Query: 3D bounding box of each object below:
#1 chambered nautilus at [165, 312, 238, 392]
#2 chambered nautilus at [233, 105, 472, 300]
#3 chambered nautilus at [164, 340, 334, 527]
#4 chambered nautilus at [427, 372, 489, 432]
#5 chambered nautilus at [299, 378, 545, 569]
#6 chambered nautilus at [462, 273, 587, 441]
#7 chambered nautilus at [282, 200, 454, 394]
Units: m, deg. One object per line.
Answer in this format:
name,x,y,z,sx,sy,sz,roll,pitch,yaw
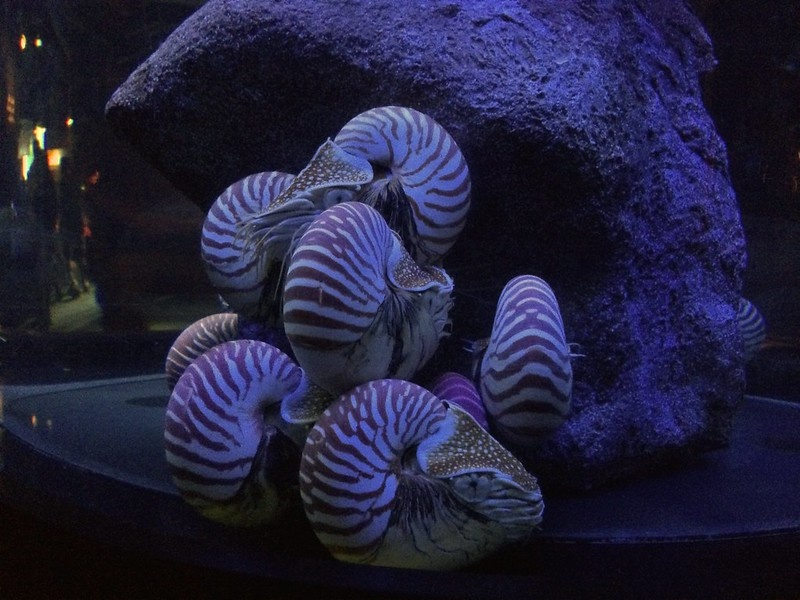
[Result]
chambered nautilus,-0.416,0.119,2.046,0.197,0.075,0.251,-23,26,-36
chambered nautilus,-0.091,-0.233,2.152,0.764,0.469,0.405,-8,3,-41
chambered nautilus,-0.325,0.304,1.910,0.367,0.437,0.189,-4,-1,-30
chambered nautilus,0.141,0.228,2.066,0.069,0.085,0.159,2,30,-43
chambered nautilus,0.028,0.424,2.083,0.548,0.419,0.329,13,-10,-2
chambered nautilus,0.292,0.145,1.997,0.239,0.359,0.192,5,-29,-4
chambered nautilus,-0.089,0.012,2.090,0.303,0.415,0.585,1,-8,39
